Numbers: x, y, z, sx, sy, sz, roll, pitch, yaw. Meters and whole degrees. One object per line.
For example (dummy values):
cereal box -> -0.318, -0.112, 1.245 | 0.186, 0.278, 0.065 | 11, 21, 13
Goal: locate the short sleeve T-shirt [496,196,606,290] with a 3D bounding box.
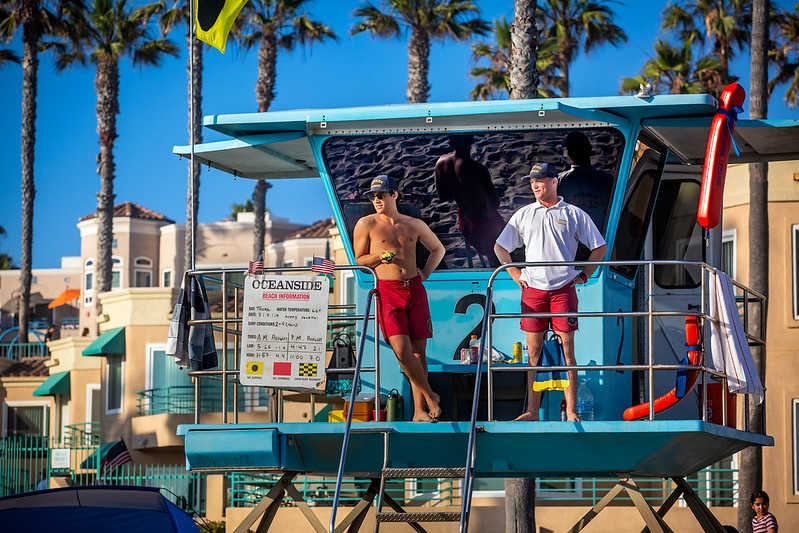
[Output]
short sleeve T-shirt -> 3.683, -0.538, 41.029 | 2.173, 1.730, 0.837 | 0, -7, 8

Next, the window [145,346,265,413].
window -> -5.685, 3.477, 52.557 | 3.348, 1.924, 0.145 | -1, -3, 10

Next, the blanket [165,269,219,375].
blanket -> -4.856, 1.212, 41.551 | 1.236, 2.792, 0.652 | 15, -34, -33

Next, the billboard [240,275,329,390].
billboard -> -2.601, 1.481, 40.372 | 2.612, 3.142, 0.246 | 1, -7, 3

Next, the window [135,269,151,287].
window -> -13.416, 0.593, 92.359 | 0.903, 1.020, 0.083 | -1, -10, -8
